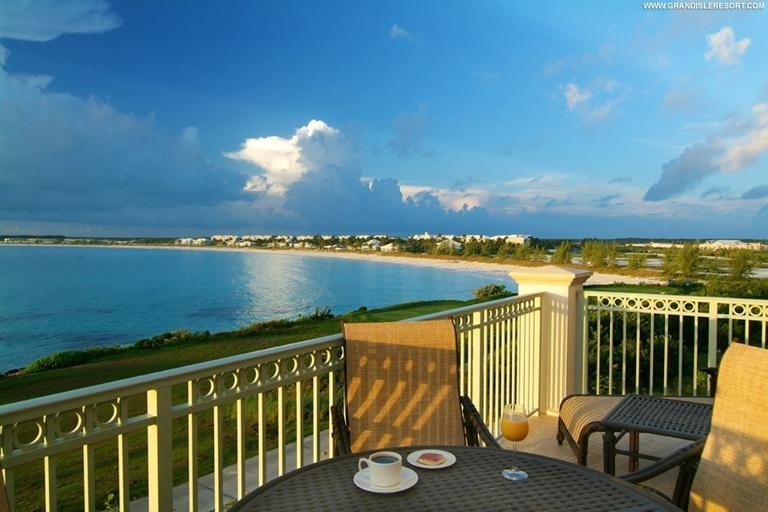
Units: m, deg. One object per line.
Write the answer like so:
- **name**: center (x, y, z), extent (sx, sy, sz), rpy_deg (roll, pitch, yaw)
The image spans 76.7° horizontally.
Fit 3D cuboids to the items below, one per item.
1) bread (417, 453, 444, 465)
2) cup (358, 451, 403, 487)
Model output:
- **bread**: center (0.260, 1.127, 2.702), extent (0.145, 0.024, 0.095), rpy_deg (0, 4, 6)
- **cup**: center (-0.029, 1.126, 2.574), extent (0.225, 0.120, 0.160), rpy_deg (0, 0, -4)
